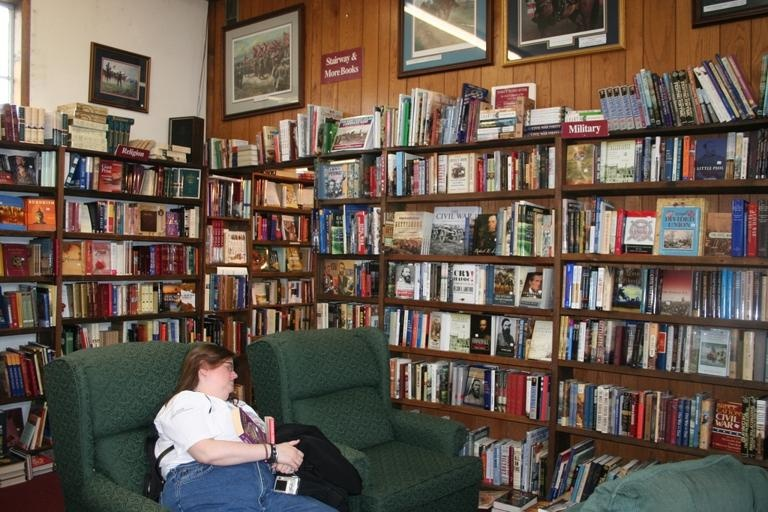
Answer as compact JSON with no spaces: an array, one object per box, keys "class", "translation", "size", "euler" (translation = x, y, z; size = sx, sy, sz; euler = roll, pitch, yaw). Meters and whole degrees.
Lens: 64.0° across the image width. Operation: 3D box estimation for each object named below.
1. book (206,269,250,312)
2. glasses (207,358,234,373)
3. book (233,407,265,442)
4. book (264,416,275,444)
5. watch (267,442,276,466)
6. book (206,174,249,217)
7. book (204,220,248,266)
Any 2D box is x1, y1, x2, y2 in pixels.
[{"class":"book","translation":[-1.594,0.367,6.282],"size":[0.468,0.339,0.449],"euler":[-5,-9,41]},{"class":"glasses","translation":[-0.950,0.638,3.585],"size":[0.102,0.062,0.076],"euler":[1,-5,-2]},{"class":"book","translation":[-0.752,0.975,3.541],"size":[0.050,0.196,0.190],"euler":[-32,-41,12]},{"class":"book","translation":[-0.680,1.038,3.658],"size":[0.020,0.155,0.114],"euler":[-1,-11,-24]},{"class":"watch","translation":[-0.622,1.115,3.457],"size":[0.049,0.090,0.079],"euler":[5,12,-9]},{"class":"book","translation":[-1.578,-0.605,6.299],"size":[0.437,0.426,0.091],"euler":[-1,-1,-18]},{"class":"book","translation":[-1.627,-0.085,6.409],"size":[0.526,0.520,0.389],"euler":[1,-3,-28]}]
